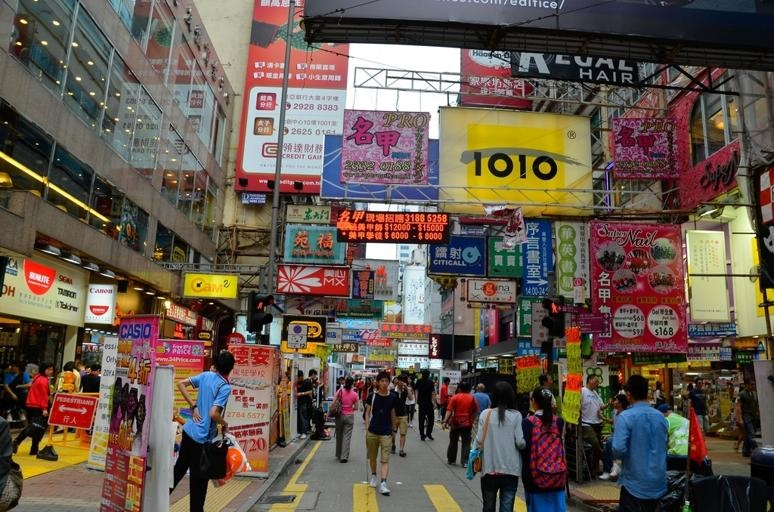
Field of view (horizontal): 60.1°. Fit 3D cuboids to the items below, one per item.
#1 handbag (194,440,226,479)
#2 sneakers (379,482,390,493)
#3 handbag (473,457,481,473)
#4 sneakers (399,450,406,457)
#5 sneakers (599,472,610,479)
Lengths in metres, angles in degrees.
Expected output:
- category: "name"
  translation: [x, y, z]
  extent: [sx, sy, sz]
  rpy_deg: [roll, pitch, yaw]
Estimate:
- category: "handbag"
  translation: [-3.090, 3.632, 11.864]
  extent: [0.540, 0.765, 0.333]
  rpy_deg: [3, -16, -6]
- category: "sneakers"
  translation: [-0.044, 5.301, 15.273]
  extent: [0.219, 0.255, 0.330]
  rpy_deg: [2, -7, -2]
- category: "handbag"
  translation: [1.617, 3.734, 12.014]
  extent: [0.103, 0.242, 0.241]
  rpy_deg: [1, -7, 16]
- category: "sneakers"
  translation: [0.465, 5.954, 20.173]
  extent: [0.133, 0.170, 0.383]
  rpy_deg: [0, -21, 0]
- category: "sneakers"
  translation: [5.226, 5.281, 16.090]
  extent: [0.132, 0.180, 0.405]
  rpy_deg: [-13, -27, 30]
